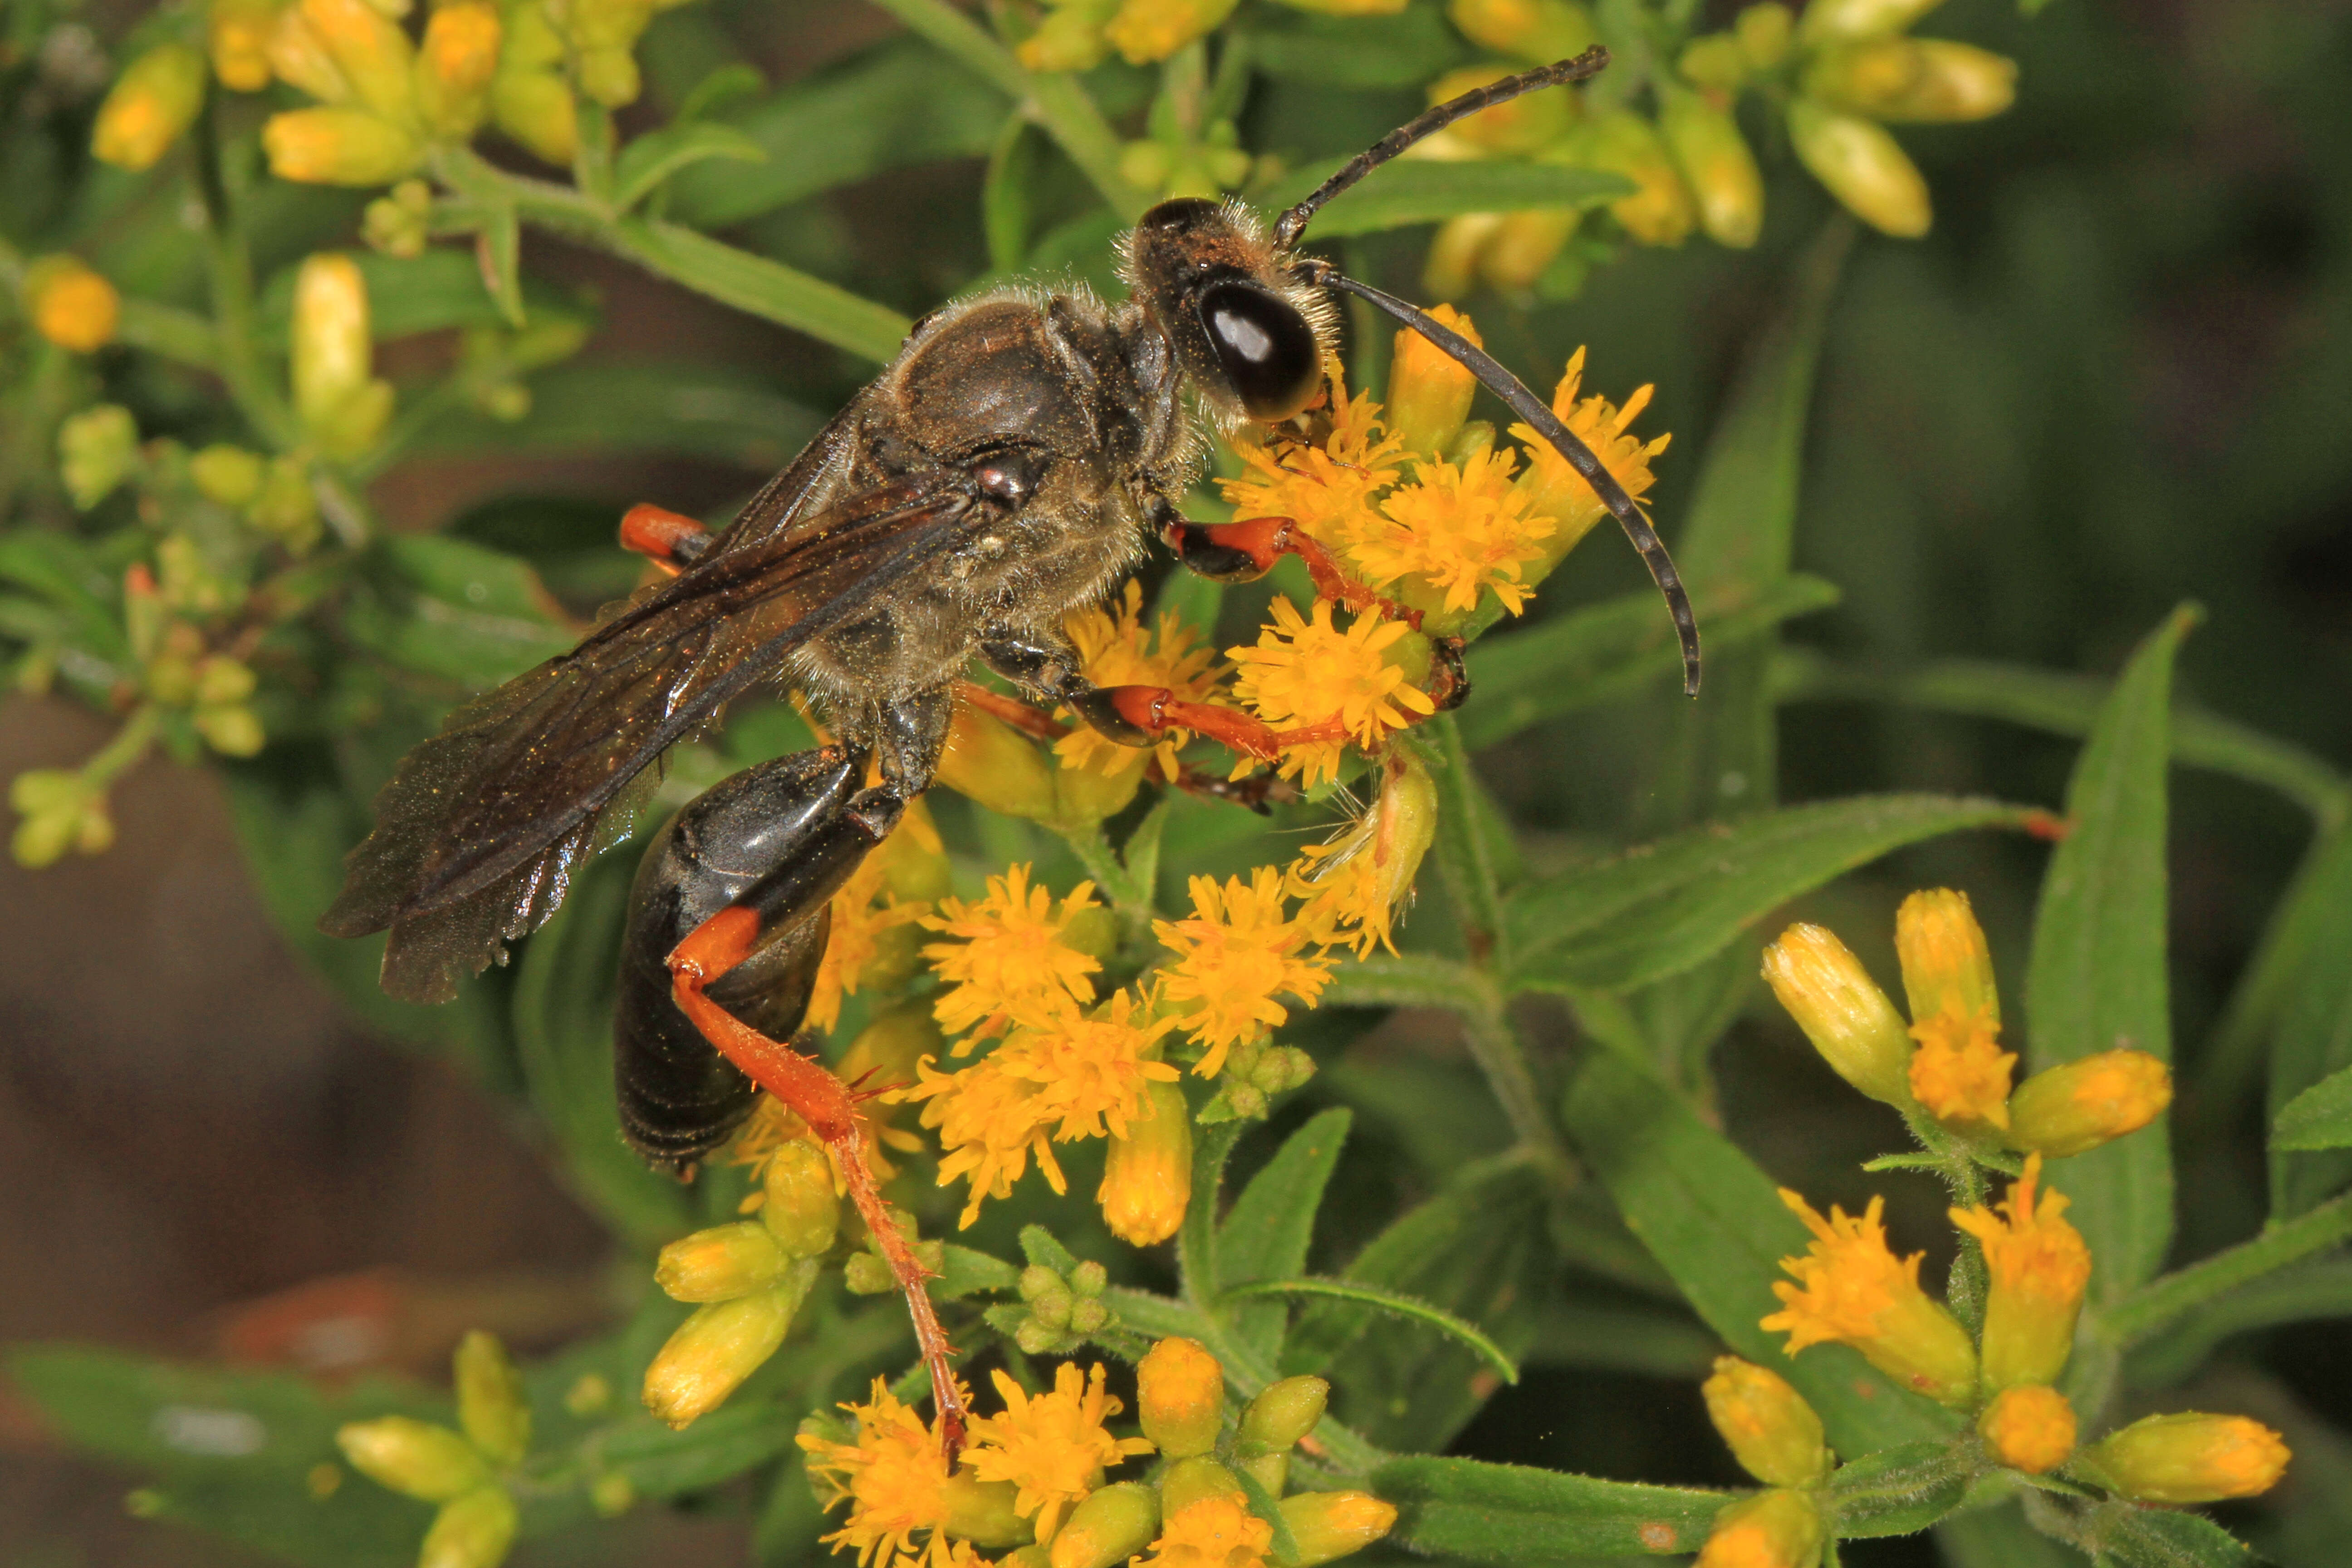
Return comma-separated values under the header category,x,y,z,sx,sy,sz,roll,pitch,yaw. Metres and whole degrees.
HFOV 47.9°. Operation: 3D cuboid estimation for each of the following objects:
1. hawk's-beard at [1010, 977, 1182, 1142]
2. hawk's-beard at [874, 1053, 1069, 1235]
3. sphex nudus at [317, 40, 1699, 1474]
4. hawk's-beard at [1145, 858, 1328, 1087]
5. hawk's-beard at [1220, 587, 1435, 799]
category,x,y,z,sx,sy,sz,roll,pitch,yaw
hawk's-beard,-0.075,0.269,2.588,0.147,0.105,0.124,-19,33,-10
hawk's-beard,-0.205,0.337,2.599,0.173,0.169,0.070,-11,-12,39
sphex nudus,-0.229,-0.159,2.830,1.617,0.553,1.145,-44,50,7
hawk's-beard,0.070,0.193,2.608,0.181,0.205,0.170,-12,32,1
hawk's-beard,0.158,-0.102,2.623,0.186,0.196,0.212,-1,12,-10
